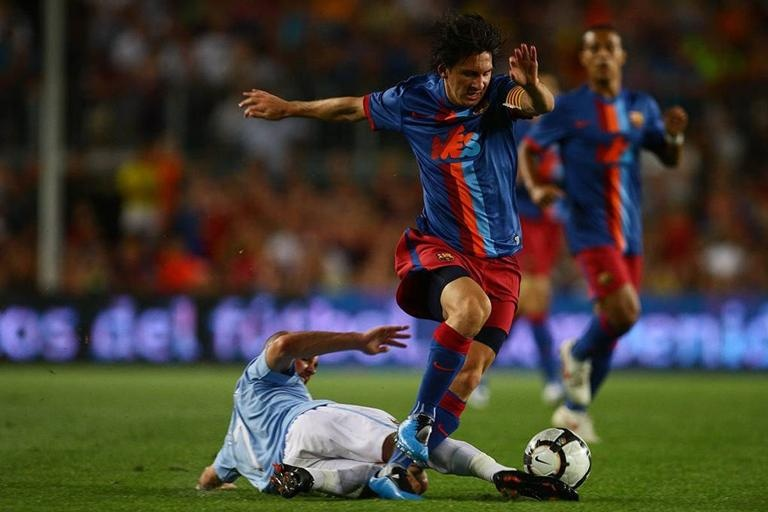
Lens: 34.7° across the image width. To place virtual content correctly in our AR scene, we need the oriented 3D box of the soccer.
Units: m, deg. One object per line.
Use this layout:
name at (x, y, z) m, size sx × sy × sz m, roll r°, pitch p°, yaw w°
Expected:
soccer at (1.673, 1.855, 11.710) m, size 0.559 × 0.594 × 0.580 m, roll -14°, pitch -38°, yaw 30°

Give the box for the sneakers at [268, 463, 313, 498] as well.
sneakers at (-0.887, 2.102, 11.472) m, size 0.364 × 0.271 × 0.131 m, roll 40°, pitch -10°, yaw 25°

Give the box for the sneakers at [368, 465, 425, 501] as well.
sneakers at (0.091, 2.128, 11.462) m, size 0.595 × 0.266 × 0.216 m, roll 12°, pitch -14°, yaw -15°

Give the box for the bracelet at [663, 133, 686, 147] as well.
bracelet at (3.075, -1.191, 12.940) m, size 0.156 × 0.160 × 0.158 m, roll -2°, pitch 6°, yaw -11°
